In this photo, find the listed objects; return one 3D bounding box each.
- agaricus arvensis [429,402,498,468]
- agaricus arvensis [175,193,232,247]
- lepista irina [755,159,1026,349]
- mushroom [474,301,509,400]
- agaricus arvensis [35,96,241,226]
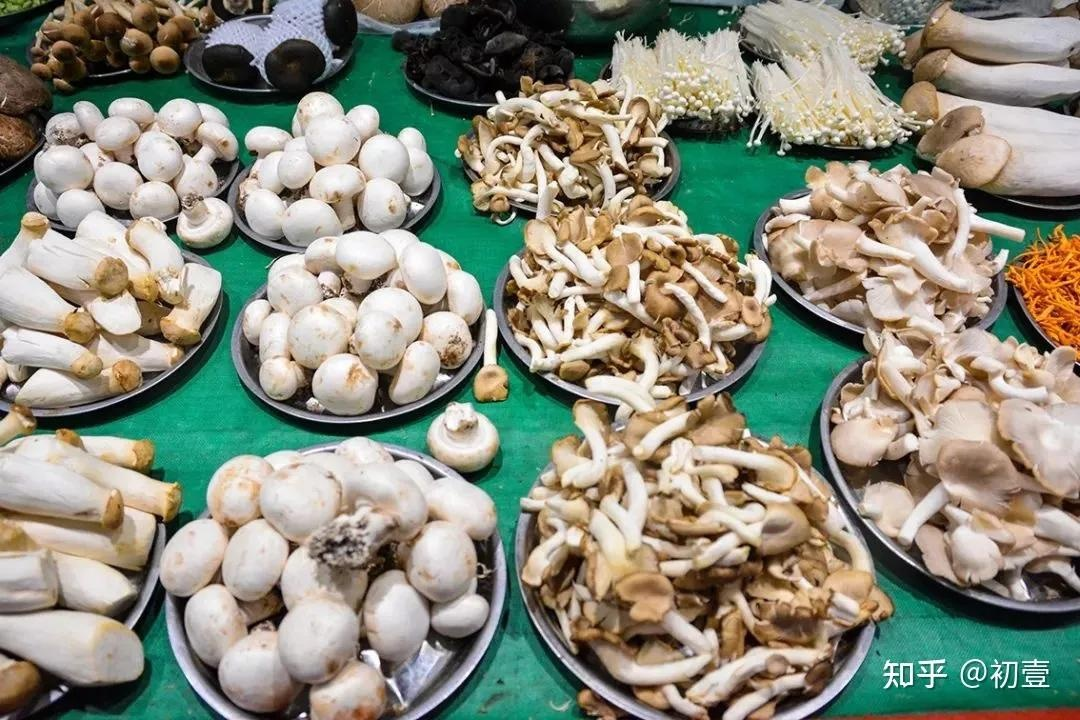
[{"bbox_3d":[-0.328,0.350,3.946,0.259,0.285,0.276,-21,54,-18],"label":"agaricus arvensis"},{"bbox_3d":[-1.661,-0.683,4.558,0.224,0.254,0.257,7,53,0],"label":"agaricus arvensis"},{"bbox_3d":[1.591,-0.512,4.338,0.937,0.444,0.929,32,61,20],"label":"lepista irina"},{"bbox_3d":[-0.221,-0.044,4.175,0.128,0.052,0.416,1,76,0],"label":"mushroom"},{"bbox_3d":[-1.999,-0.972,4.568,0.592,0.477,0.664,6,38,18],"label":"agaricus arvensis"}]
